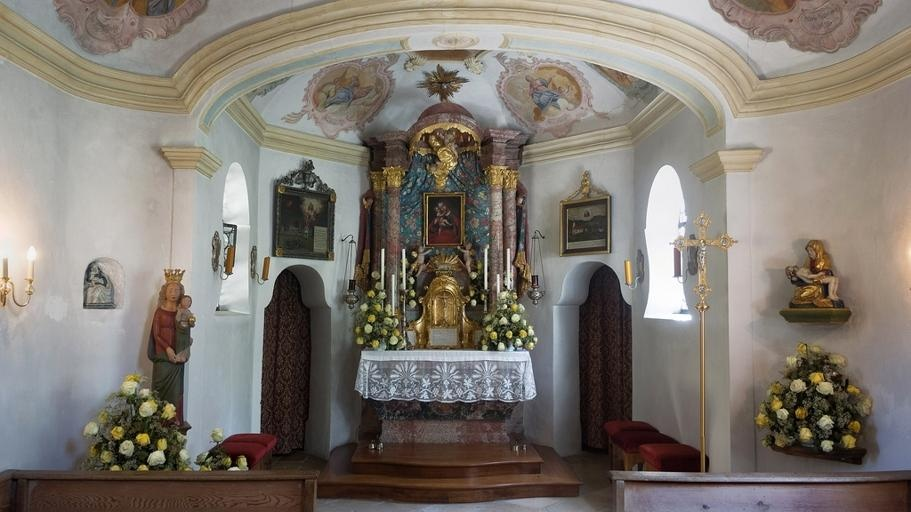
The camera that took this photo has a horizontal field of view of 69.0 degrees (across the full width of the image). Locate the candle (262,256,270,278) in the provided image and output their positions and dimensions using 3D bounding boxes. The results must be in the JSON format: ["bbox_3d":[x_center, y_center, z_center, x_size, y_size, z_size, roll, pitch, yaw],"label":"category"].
[{"bbox_3d":[-3.461,0.219,11.869,0.133,0.416,0.327,2,-7,-11],"label":"candle"}]

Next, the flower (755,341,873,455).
[{"bbox_3d":[4.921,1.929,8.972,1.415,1.436,0.454,0,-7,1],"label":"flower"}]

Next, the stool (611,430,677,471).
[{"bbox_3d":[3.019,3.082,10.841,0.698,0.683,0.968,2,-6,-2],"label":"stool"}]

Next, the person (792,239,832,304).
[{"bbox_3d":[5.044,0.245,9.187,0.673,0.868,0.692,-2,6,30],"label":"person"}]

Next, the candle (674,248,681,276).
[{"bbox_3d":[2.984,0.093,8.807,0.062,0.363,0.065,-4,-9,32],"label":"candle"}]

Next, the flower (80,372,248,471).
[{"bbox_3d":[-3.920,2.137,8.492,1.649,1.167,1.462,2,-8,-11],"label":"flower"}]

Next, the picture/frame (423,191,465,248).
[{"bbox_3d":[-0.244,-0.644,12.880,1.070,1.247,0.128,0,-8,-2],"label":"picture/frame"}]

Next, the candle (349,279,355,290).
[{"bbox_3d":[-2.015,0.562,12.738,0.108,0.197,0.250,-1,-7,10],"label":"candle"}]

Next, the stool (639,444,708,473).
[{"bbox_3d":[3.334,3.048,10.030,0.697,0.315,0.733,1,-9,-3],"label":"stool"}]

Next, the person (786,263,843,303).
[{"bbox_3d":[4.956,0.303,9.043,0.545,0.781,0.273,3,34,23],"label":"person"}]

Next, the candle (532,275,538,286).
[{"bbox_3d":[1.553,0.483,12.833,0.119,0.218,0.144,-3,-8,22],"label":"candle"}]

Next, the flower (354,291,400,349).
[{"bbox_3d":[-1.435,1.265,12.115,0.811,1.083,0.711,-7,-28,6],"label":"flower"}]

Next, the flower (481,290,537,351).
[{"bbox_3d":[0.905,1.283,12.263,1.068,1.172,1.095,9,-19,-16],"label":"flower"}]

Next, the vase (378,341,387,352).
[{"bbox_3d":[-1.317,1.575,11.625,0.150,0.184,0.263,0,-7,-2],"label":"vase"}]

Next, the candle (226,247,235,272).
[{"bbox_3d":[-3.725,0.079,10.721,0.132,0.423,0.262,4,-8,-28],"label":"candle"}]
